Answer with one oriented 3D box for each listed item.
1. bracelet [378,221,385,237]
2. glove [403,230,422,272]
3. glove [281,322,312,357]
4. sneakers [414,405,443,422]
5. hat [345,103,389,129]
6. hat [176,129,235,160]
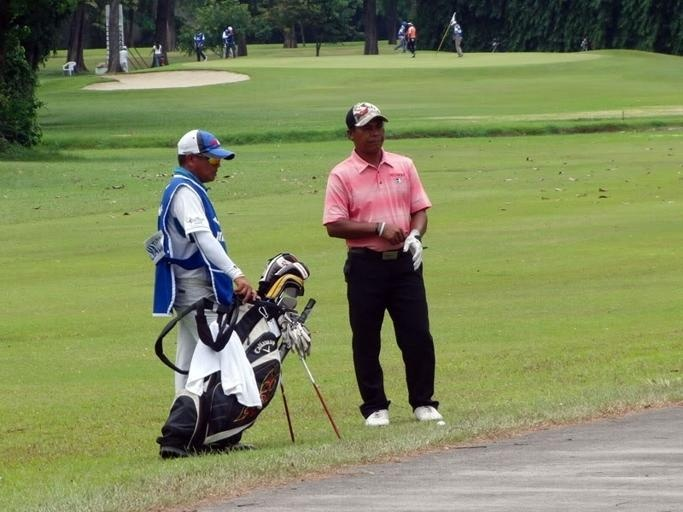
[{"bbox_3d":[0.490,-0.343,18.026,0.054,0.129,0.117,11,1,-7],"label":"bracelet"},{"bbox_3d":[0.936,-0.076,18.151,0.201,0.452,0.272,3,35,21],"label":"glove"},{"bbox_3d":[-0.545,1.024,17.949,0.285,0.454,0.209,-38,-2,-14],"label":"glove"},{"bbox_3d":[1.088,1.996,18.245,0.312,0.112,0.170,3,13,43],"label":"sneakers"},{"bbox_3d":[0.217,-1.769,18.280,0.340,0.227,0.446,-17,3,-30],"label":"hat"},{"bbox_3d":[-1.710,-1.381,17.841,0.609,0.271,0.350,0,9,2],"label":"hat"}]
